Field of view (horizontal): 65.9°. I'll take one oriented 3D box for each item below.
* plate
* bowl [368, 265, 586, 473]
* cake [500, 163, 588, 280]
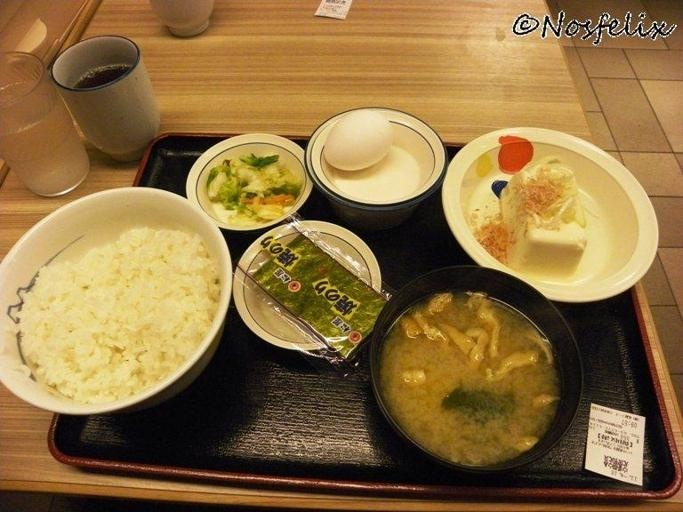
[{"bbox_3d":[-0.116,0.121,1.728,0.426,0.093,0.521,-32,73,-17],"label":"plate"},{"bbox_3d":[0.382,0.307,1.529,0.592,0.120,0.584,2,66,-4],"label":"bowl"},{"bbox_3d":[0.711,-0.130,1.929,0.253,0.216,0.433,2,60,4],"label":"cake"}]
